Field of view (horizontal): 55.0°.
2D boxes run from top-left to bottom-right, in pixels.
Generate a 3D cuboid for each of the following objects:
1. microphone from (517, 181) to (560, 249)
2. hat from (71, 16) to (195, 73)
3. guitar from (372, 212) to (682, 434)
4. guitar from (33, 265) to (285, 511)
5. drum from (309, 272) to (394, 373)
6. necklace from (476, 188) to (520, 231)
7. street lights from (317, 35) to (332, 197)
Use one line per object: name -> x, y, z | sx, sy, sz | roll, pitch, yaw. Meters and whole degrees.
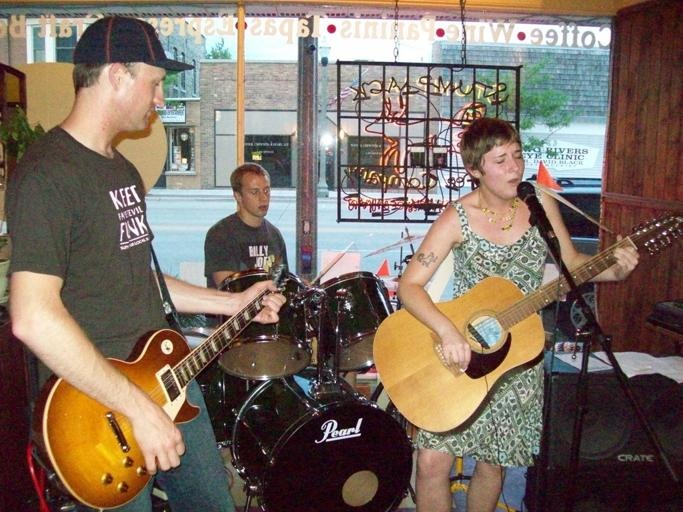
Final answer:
microphone -> 0.932, -0.209, 3.159 | 0.193, 0.307, 0.301 | 1, 11, 9
hat -> -0.920, -0.893, 2.734 | 0.342, 0.183, 0.228 | -7, 18, -19
guitar -> 0.890, 0.415, 3.562 | 1.881, 0.749, 0.197 | -35, -20, 5
guitar -> -0.810, 0.605, 2.937 | 0.195, 0.561, 1.315 | 1, 38, 42
drum -> 0.043, 0.456, 3.975 | 0.544, 0.550, 0.545 | 5, 46, -12
necklace -> 0.796, -0.223, 3.272 | 0.136, 0.189, 0.116 | -2, -12, -6
street lights -> -0.121, -1.071, 5.251 | 0.104, 1.185, 0.138 | 7, 13, 32
